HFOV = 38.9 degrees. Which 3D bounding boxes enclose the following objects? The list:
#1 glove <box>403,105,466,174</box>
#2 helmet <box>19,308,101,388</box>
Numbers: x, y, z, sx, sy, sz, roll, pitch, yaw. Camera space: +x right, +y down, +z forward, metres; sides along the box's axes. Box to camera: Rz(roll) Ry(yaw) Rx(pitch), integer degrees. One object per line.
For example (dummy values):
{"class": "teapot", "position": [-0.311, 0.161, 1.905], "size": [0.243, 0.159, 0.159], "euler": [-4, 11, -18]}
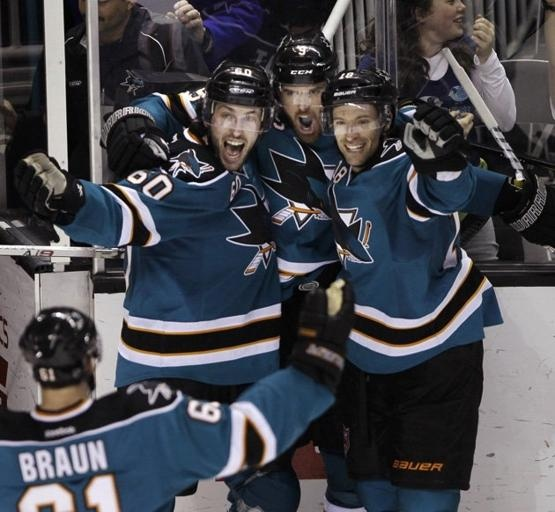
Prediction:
{"class": "glove", "position": [0.459, -0.347, 2.325], "size": [0.182, 0.210, 0.125], "euler": [-2, 4, 15]}
{"class": "helmet", "position": [-0.506, 0.220, 2.060], "size": [0.191, 0.198, 0.217], "euler": [1, 27, 1]}
